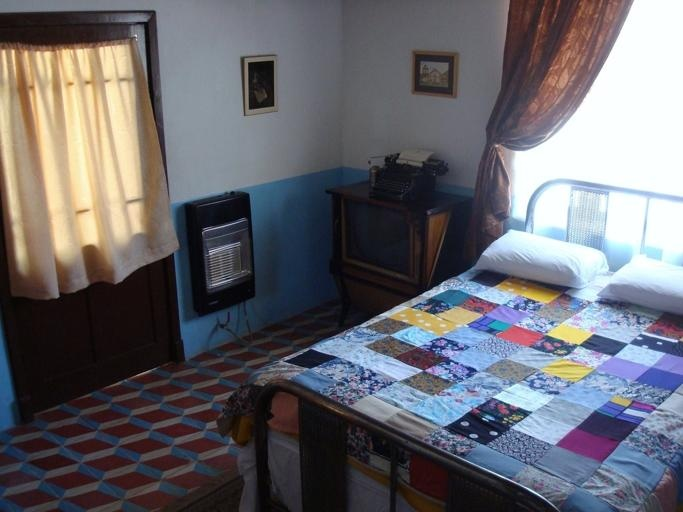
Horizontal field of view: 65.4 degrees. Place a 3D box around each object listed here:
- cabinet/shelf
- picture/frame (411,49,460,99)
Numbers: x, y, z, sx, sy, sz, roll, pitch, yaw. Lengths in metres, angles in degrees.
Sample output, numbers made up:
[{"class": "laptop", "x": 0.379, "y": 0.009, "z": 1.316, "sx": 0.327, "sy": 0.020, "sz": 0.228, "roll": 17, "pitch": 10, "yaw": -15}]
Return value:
[{"class": "cabinet/shelf", "x": 0.480, "y": -0.049, "z": 4.093, "sx": 0.814, "sy": 1.020, "sz": 0.591, "roll": 24, "pitch": 36, "yaw": 35}, {"class": "picture/frame", "x": 0.768, "y": -1.485, "z": 4.268, "sx": 0.405, "sy": 0.339, "sz": 0.028, "roll": 15, "pitch": 28, "yaw": 34}]
